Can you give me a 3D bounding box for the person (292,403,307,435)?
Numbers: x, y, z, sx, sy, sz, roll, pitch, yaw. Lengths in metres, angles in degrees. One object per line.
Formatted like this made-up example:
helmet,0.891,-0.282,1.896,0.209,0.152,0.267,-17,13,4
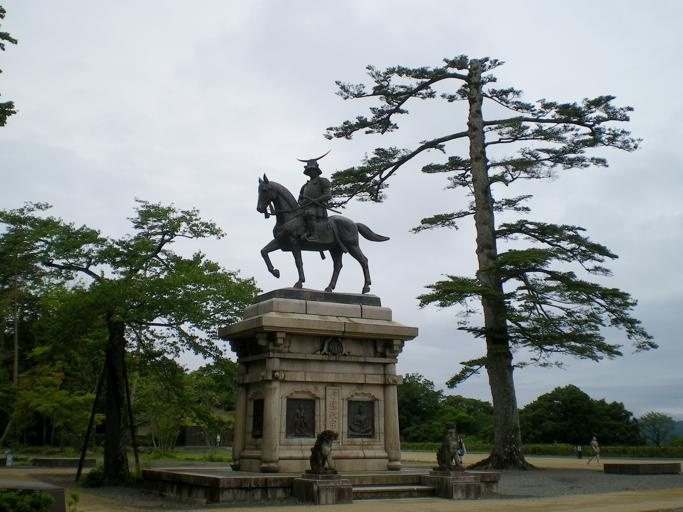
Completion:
person,-1.466,5.587,29.019,0.430,1.090,0.244,3,-21,-9
